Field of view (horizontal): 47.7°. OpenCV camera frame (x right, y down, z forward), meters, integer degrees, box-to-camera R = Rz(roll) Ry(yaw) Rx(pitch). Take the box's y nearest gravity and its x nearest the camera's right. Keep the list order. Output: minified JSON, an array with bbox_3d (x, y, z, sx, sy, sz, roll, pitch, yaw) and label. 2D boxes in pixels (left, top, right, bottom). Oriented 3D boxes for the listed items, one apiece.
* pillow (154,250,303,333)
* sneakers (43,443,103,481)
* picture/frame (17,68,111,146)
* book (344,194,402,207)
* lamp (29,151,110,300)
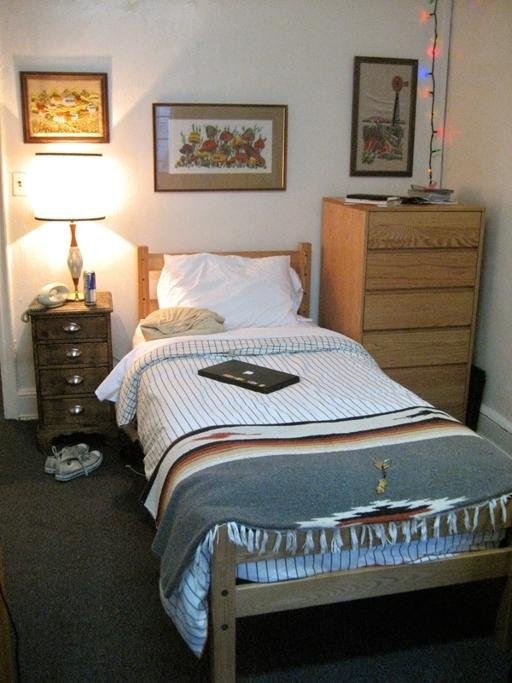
[{"bbox_3d":[-0.140,-0.289,3.030,0.554,0.145,0.511,4,43,-9],"label":"pillow"},{"bbox_3d":[-0.857,0.559,2.753,0.263,0.094,0.207,-12,18,-43],"label":"sneakers"},{"bbox_3d":[-0.996,-1.212,2.950,0.423,0.319,0.031,-3,17,-12],"label":"picture/frame"},{"bbox_3d":[0.588,-0.707,2.901,0.286,0.061,0.226,2,13,8],"label":"book"},{"bbox_3d":[-0.959,-0.601,3.023,0.406,0.749,0.414,-4,14,-14],"label":"lamp"}]
